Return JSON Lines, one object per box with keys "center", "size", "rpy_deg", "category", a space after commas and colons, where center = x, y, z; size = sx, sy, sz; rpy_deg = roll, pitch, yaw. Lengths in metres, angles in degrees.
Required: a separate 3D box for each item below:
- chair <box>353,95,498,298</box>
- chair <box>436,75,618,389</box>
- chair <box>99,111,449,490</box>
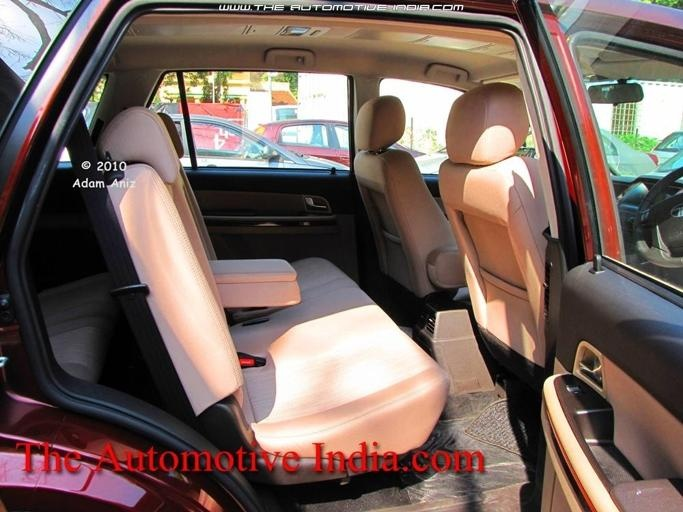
{"center": [0.422, -0.351, 2.634], "size": [0.639, 1.074, 0.680], "rpy_deg": [-11, 18, -21], "category": "chair"}
{"center": [0.835, -0.101, 1.864], "size": [0.830, 1.090, 0.633], "rpy_deg": [-8, 11, -22], "category": "chair"}
{"center": [-0.329, 0.010, 2.069], "size": [0.949, 1.213, 1.694], "rpy_deg": [-9, 14, -17], "category": "chair"}
